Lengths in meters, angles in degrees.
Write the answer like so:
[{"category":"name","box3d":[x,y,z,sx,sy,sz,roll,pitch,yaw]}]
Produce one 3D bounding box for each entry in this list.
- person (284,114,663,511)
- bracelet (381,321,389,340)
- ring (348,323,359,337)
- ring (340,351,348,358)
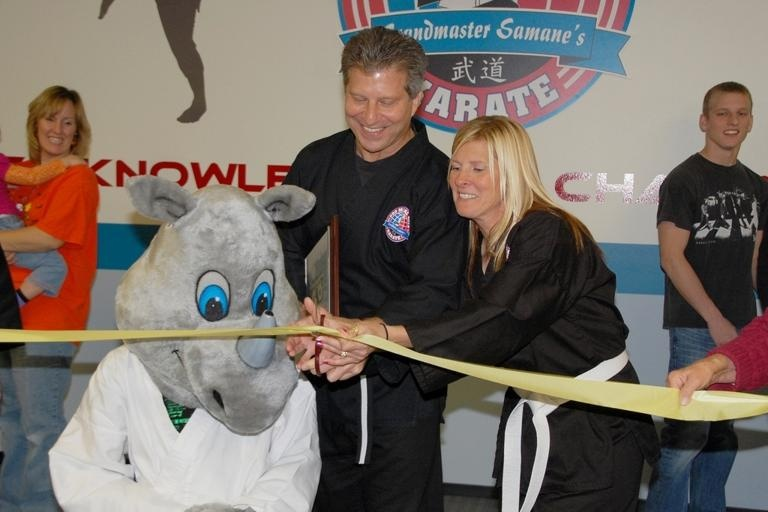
[{"category":"person","box3d":[0.651,0.255,3.295,1.156,1.795,0.442,1,4,2]},{"category":"bracelet","box3d":[-0.002,0.331,3.168,0.033,0.063,0.100,1,4,-1]},{"category":"ring","box3d":[-0.132,0.321,3.078,0.038,0.039,0.012,-5,-37,19]},{"category":"ring","box3d":[-0.181,0.435,3.155,0.030,0.008,0.031,2,-39,2]}]
